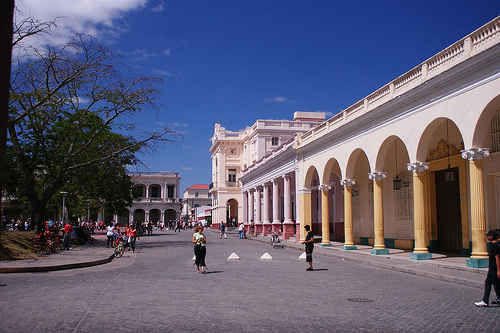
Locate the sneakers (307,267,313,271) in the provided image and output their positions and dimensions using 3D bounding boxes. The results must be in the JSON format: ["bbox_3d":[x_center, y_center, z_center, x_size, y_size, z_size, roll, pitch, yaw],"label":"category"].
[{"bbox_3d":[2.609,4.404,17.512,0.236,0.106,0.127,3,-14,-1],"label":"sneakers"}]

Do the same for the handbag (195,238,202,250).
[{"bbox_3d":[-2.154,3.252,17.089,0.350,0.400,0.226,5,-41,-8],"label":"handbag"}]

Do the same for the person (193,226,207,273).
[{"bbox_3d":[-2.181,3.556,17.654,0.589,1.946,1.578,2,-10,-8],"label":"person"}]

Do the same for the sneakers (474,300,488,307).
[{"bbox_3d":[6.237,3.702,11.012,0.375,0.177,0.132,1,-8,19],"label":"sneakers"}]
